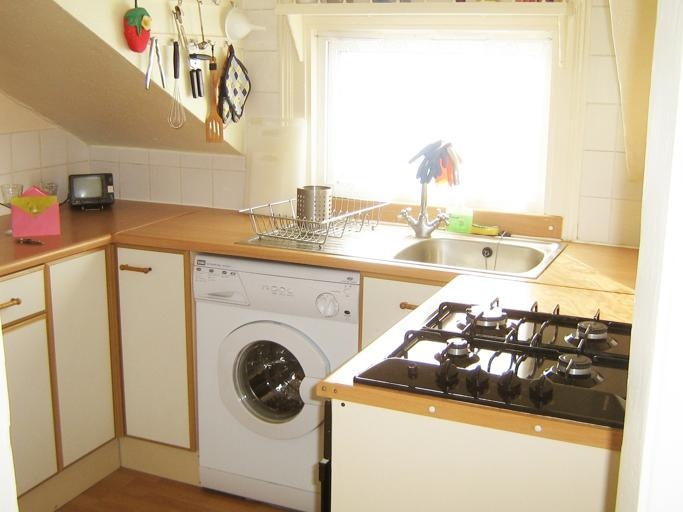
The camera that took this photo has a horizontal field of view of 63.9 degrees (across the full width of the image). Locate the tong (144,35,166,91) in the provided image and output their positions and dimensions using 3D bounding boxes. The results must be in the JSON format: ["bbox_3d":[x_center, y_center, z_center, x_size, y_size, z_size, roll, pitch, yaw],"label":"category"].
[{"bbox_3d":[-0.852,-0.889,2.496,0.063,0.232,0.128,4,10,10],"label":"tong"}]

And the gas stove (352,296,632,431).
[{"bbox_3d":[0.369,0.210,1.245,0.495,0.100,0.539,8,12,27],"label":"gas stove"}]

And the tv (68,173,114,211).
[{"bbox_3d":[-1.328,-0.329,2.956,0.251,0.230,0.181,-2,2,-33],"label":"tv"}]
